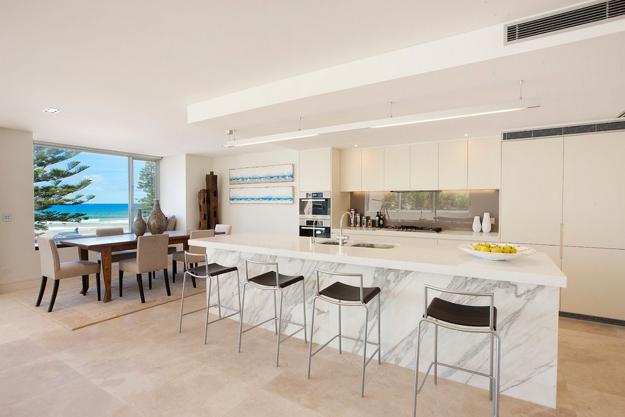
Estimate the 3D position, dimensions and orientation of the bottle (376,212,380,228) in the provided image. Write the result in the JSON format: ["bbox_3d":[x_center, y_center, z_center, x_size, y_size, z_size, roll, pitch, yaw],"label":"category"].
[{"bbox_3d":[1.304,0.210,8.026,0.091,0.275,0.071,-1,4,17],"label":"bottle"}]

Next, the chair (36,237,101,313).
[{"bbox_3d":[-3.914,0.991,6.442,0.889,1.126,0.480,-5,5,-34],"label":"chair"}]

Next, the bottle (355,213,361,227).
[{"bbox_3d":[0.928,0.225,8.178,0.106,0.247,0.195,-2,4,6],"label":"bottle"}]

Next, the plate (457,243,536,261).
[{"bbox_3d":[2.117,0.496,4.669,0.794,0.195,0.440,-1,3,24],"label":"plate"}]

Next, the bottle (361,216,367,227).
[{"bbox_3d":[1.037,0.249,8.133,0.111,0.197,0.188,-2,3,0],"label":"bottle"}]

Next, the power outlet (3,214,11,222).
[{"bbox_3d":[-5.378,0.167,7.096,0.017,0.139,0.128,1,2,40],"label":"power outlet"}]

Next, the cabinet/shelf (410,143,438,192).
[{"bbox_3d":[1.952,-0.744,7.512,0.605,0.906,0.640,-6,7,-29],"label":"cabinet/shelf"}]

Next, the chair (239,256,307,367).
[{"bbox_3d":[-0.503,1.248,5.239,0.934,1.168,0.881,-2,3,-8],"label":"chair"}]

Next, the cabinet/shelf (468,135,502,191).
[{"bbox_3d":[2.882,-0.762,6.820,0.467,0.859,0.127,0,5,33],"label":"cabinet/shelf"}]

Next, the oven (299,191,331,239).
[{"bbox_3d":[0.098,0.220,8.259,0.736,1.117,0.617,2,2,29],"label":"oven"}]

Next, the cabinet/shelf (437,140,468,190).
[{"bbox_3d":[2.451,-0.748,7.027,0.471,0.830,0.136,-1,4,17],"label":"cabinet/shelf"}]

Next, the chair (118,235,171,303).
[{"bbox_3d":[-2.860,0.959,6.906,0.833,0.978,0.789,-1,1,0],"label":"chair"}]

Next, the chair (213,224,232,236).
[{"bbox_3d":[-1.868,0.439,8.374,0.284,0.280,0.391,5,10,8],"label":"chair"}]

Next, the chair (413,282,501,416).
[{"bbox_3d":[1.571,1.475,4.419,0.849,1.409,0.846,-1,4,20],"label":"chair"}]

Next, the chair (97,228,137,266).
[{"bbox_3d":[-3.588,0.665,7.440,0.684,0.872,0.666,2,1,36],"label":"chair"}]

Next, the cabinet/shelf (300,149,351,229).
[{"bbox_3d":[0.203,-0.389,8.056,0.922,1.565,0.462,-2,4,2],"label":"cabinet/shelf"}]
